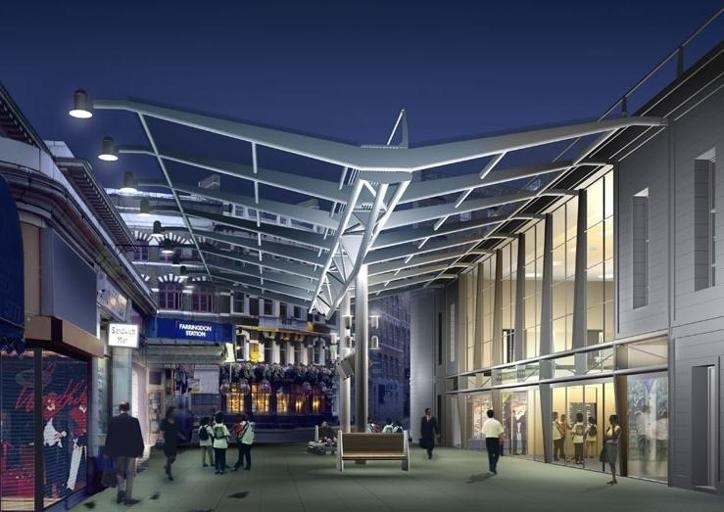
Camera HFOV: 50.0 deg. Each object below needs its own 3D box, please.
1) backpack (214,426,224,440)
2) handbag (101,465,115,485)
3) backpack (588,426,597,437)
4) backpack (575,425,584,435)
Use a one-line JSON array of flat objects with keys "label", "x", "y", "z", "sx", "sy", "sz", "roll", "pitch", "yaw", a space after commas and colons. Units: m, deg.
[{"label": "backpack", "x": -4.800, "y": 6.020, "z": 26.143, "sx": 0.423, "sy": 0.452, "sz": 0.236, "roll": -1, "pitch": -19, "yaw": 7}, {"label": "handbag", "x": -6.104, "y": 5.408, "z": 18.880, "sx": 0.323, "sy": 0.420, "sz": 0.518, "roll": 7, "pitch": -19, "yaw": -16}, {"label": "backpack", "x": 8.156, "y": 6.345, "z": 27.856, "sx": 0.367, "sy": 0.318, "sz": 0.636, "roll": -2, "pitch": -12, "yaw": 31}, {"label": "backpack", "x": 7.752, "y": 6.313, "z": 27.996, "sx": 0.444, "sy": 0.385, "sz": 0.227, "roll": 0, "pitch": -3, "yaw": -1}]
